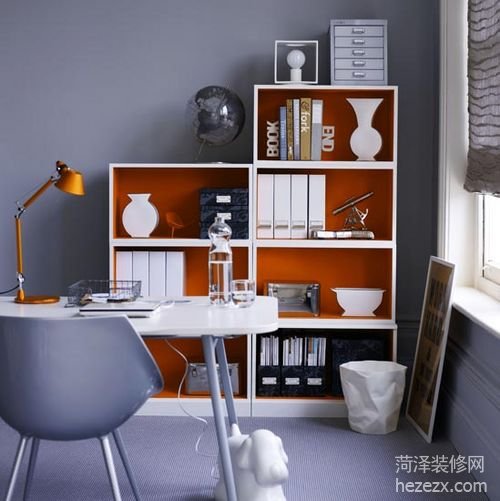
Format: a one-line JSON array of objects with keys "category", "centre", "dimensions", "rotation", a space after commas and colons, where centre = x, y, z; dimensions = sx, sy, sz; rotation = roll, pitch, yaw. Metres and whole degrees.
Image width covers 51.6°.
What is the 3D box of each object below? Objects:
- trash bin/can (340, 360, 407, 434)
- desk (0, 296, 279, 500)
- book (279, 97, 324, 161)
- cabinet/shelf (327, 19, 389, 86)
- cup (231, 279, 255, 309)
[{"category": "trash bin/can", "centre": [0.643, 0.726, 2.691], "dimensions": [0.304, 0.328, 0.337], "rotation": [-1, -8, 3]}, {"category": "desk", "centre": [-0.281, 0.615, 1.839], "dimensions": [1.020, 0.842, 0.590], "rotation": [-1, -3, 2]}, {"category": "book", "centre": [0.285, -0.673, 2.933], "dimensions": [0.248, 0.336, 0.105], "rotation": [0, 4, 3]}, {"category": "cabinet/shelf", "centre": [0.620, -1.114, 3.019], "dimensions": [0.243, 0.370, 0.377], "rotation": [0, 2, 2]}, {"category": "cup", "centre": [-0.029, 0.163, 1.932], "dimensions": [0.074, 0.100, 0.085], "rotation": [0, -5, -1]}]
